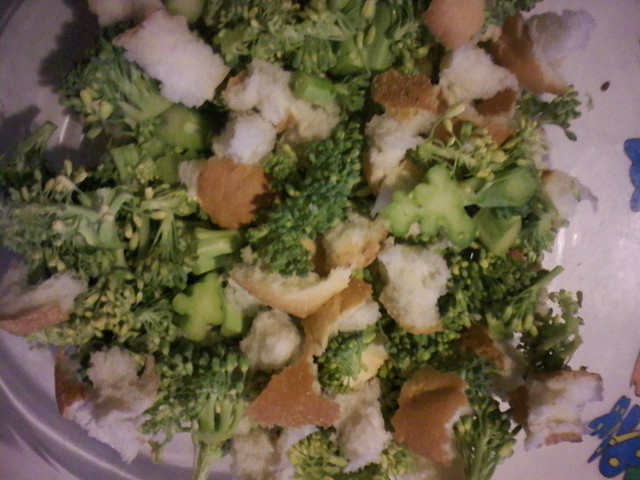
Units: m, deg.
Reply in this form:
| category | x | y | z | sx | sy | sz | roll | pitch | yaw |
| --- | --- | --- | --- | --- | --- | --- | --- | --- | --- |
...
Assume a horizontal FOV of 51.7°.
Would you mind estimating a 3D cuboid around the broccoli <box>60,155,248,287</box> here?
| category | x | y | z | sx | sy | sz | roll | pitch | yaw |
| --- | --- | --- | --- | --- | --- | --- | --- | --- | --- |
| broccoli | -0.581 | -0.019 | 2.371 | 0.445 | 0.250 | 0.470 | -34 | 99 | -11 |

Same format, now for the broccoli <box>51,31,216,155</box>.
| category | x | y | z | sx | sy | sz | roll | pitch | yaw |
| --- | --- | --- | --- | --- | --- | --- | --- | --- | --- |
| broccoli | -0.615 | -0.443 | 2.202 | 0.415 | 0.252 | 0.374 | 19 | 50 | -11 |
